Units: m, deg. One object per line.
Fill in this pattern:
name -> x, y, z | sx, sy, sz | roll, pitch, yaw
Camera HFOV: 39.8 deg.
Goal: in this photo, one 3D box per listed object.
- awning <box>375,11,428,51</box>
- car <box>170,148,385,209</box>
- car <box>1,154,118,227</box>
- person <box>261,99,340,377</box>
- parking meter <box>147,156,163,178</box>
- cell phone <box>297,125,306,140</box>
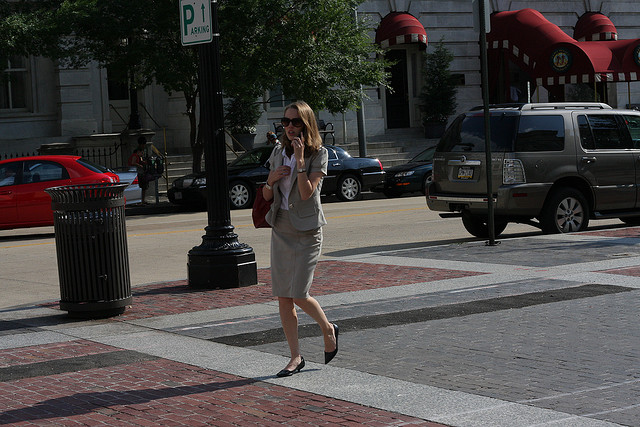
awning -> 3.263, -7.352, 35.542 | 2.448, 1.694, 1.556 | -5, -2, -28
car -> -1.005, -1.040, 25.173 | 5.321, 1.343, 2.163 | -2, 0, -31
car -> -6.385, -0.495, 20.534 | 4.278, 1.483, 1.896 | 1, 0, -4
person -> -0.208, 0.237, 8.973 | 0.703, 2.720, 0.594 | -6, 9, -3
parking meter -> -4.798, -1.378, 25.336 | 0.140, 0.501, 0.586 | -7, -12, 44
cell phone -> -0.192, -0.839, 8.921 | 0.087, 0.128, 0.046 | -11, 11, -35
